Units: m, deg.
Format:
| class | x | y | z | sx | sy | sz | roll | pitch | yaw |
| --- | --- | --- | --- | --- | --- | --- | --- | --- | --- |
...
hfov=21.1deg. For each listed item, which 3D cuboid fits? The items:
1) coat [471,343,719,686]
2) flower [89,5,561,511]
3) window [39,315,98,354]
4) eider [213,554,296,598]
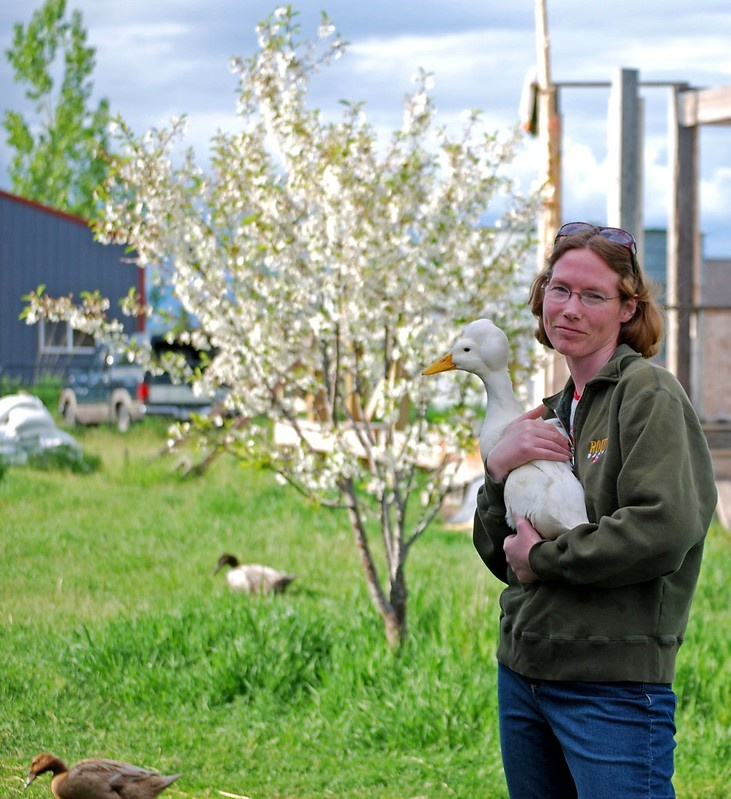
| class | x | y | z | sx | sy | sz | roll | pitch | yaw |
| --- | --- | --- | --- | --- | --- | --- | --- | --- | --- |
| coat | 0.821 | 0.399 | 6.944 | 0.821 | 1.192 | 0.442 | -2 | -1 | 14 |
| flower | -0.176 | -0.617 | 9.180 | 1.882 | 2.277 | 0.986 | -2 | -1 | 6 |
| window | -1.510 | -0.318 | 9.923 | 0.159 | 0.167 | 0.577 | -2 | -1 | 8 |
| eider | -0.557 | 0.846 | 9.670 | 0.391 | 0.199 | 0.342 | -2 | -1 | -4 |
